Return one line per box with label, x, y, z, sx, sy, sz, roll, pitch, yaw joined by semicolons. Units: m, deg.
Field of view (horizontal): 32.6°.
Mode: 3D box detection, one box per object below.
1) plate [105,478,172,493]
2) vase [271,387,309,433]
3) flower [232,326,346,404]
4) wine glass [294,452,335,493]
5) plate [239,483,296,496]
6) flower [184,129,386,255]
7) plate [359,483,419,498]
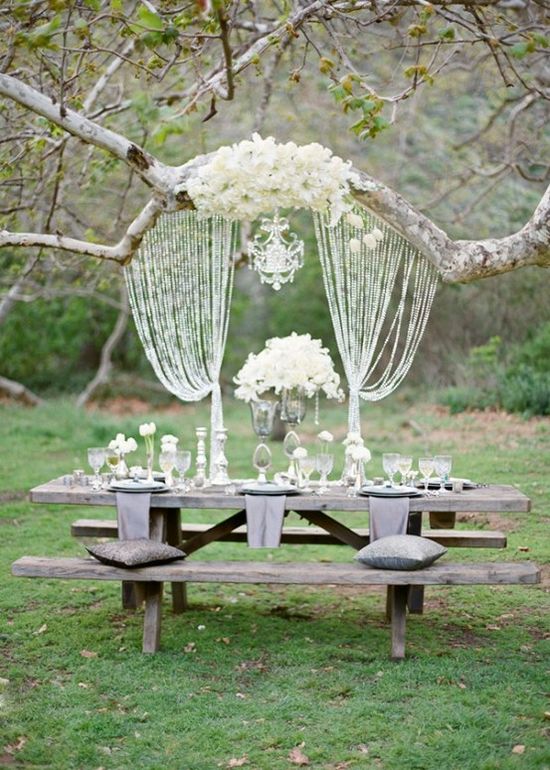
plate;-0.787;0.564;5.335;0.299;0.041;0.393;-4;7;-25
vase;0.106;0.138;5.523;0.266;0.297;0.256;-1;-12;4
flower;0.105;-0.112;5.550;0.544;0.274;0.482;0;1;5
wine glass;0.232;0.494;5.410;0.246;0.209;0.216;0;-6;3
plate;-0.024;0.571;5.187;0.307;0.047;0.312;0;7;8
flower;0.059;-1.091;5.119;0.572;0.305;0.736;-8;4;43
plate;0.645;0.581;5.223;0.337;0.033;0.374;0;7;5
